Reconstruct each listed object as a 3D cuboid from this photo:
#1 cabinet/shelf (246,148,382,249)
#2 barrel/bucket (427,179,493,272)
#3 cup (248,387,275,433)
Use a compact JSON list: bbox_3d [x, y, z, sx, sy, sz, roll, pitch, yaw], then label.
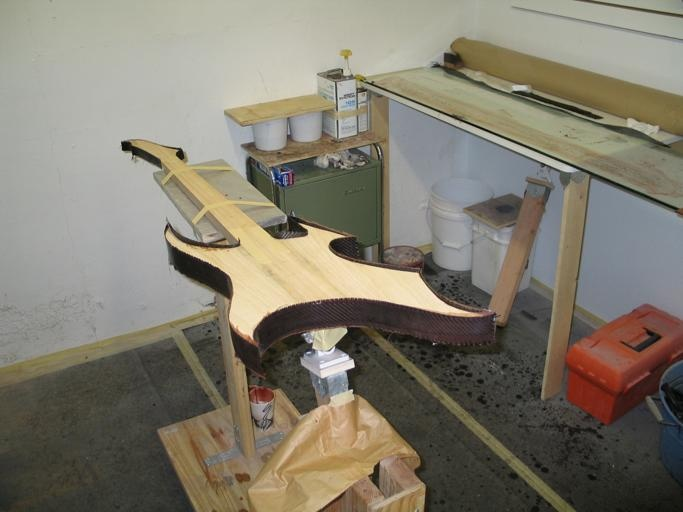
[{"bbox_3d":[-0.213,-0.440,3.703,0.671,0.776,0.308,-18,40,-25],"label":"cabinet/shelf"},{"bbox_3d":[1.107,-0.294,4.936,0.540,0.611,0.583,-6,34,4],"label":"barrel/bucket"},{"bbox_3d":[-0.518,0.960,3.445,0.197,0.180,0.245,-7,23,-18],"label":"cup"}]
